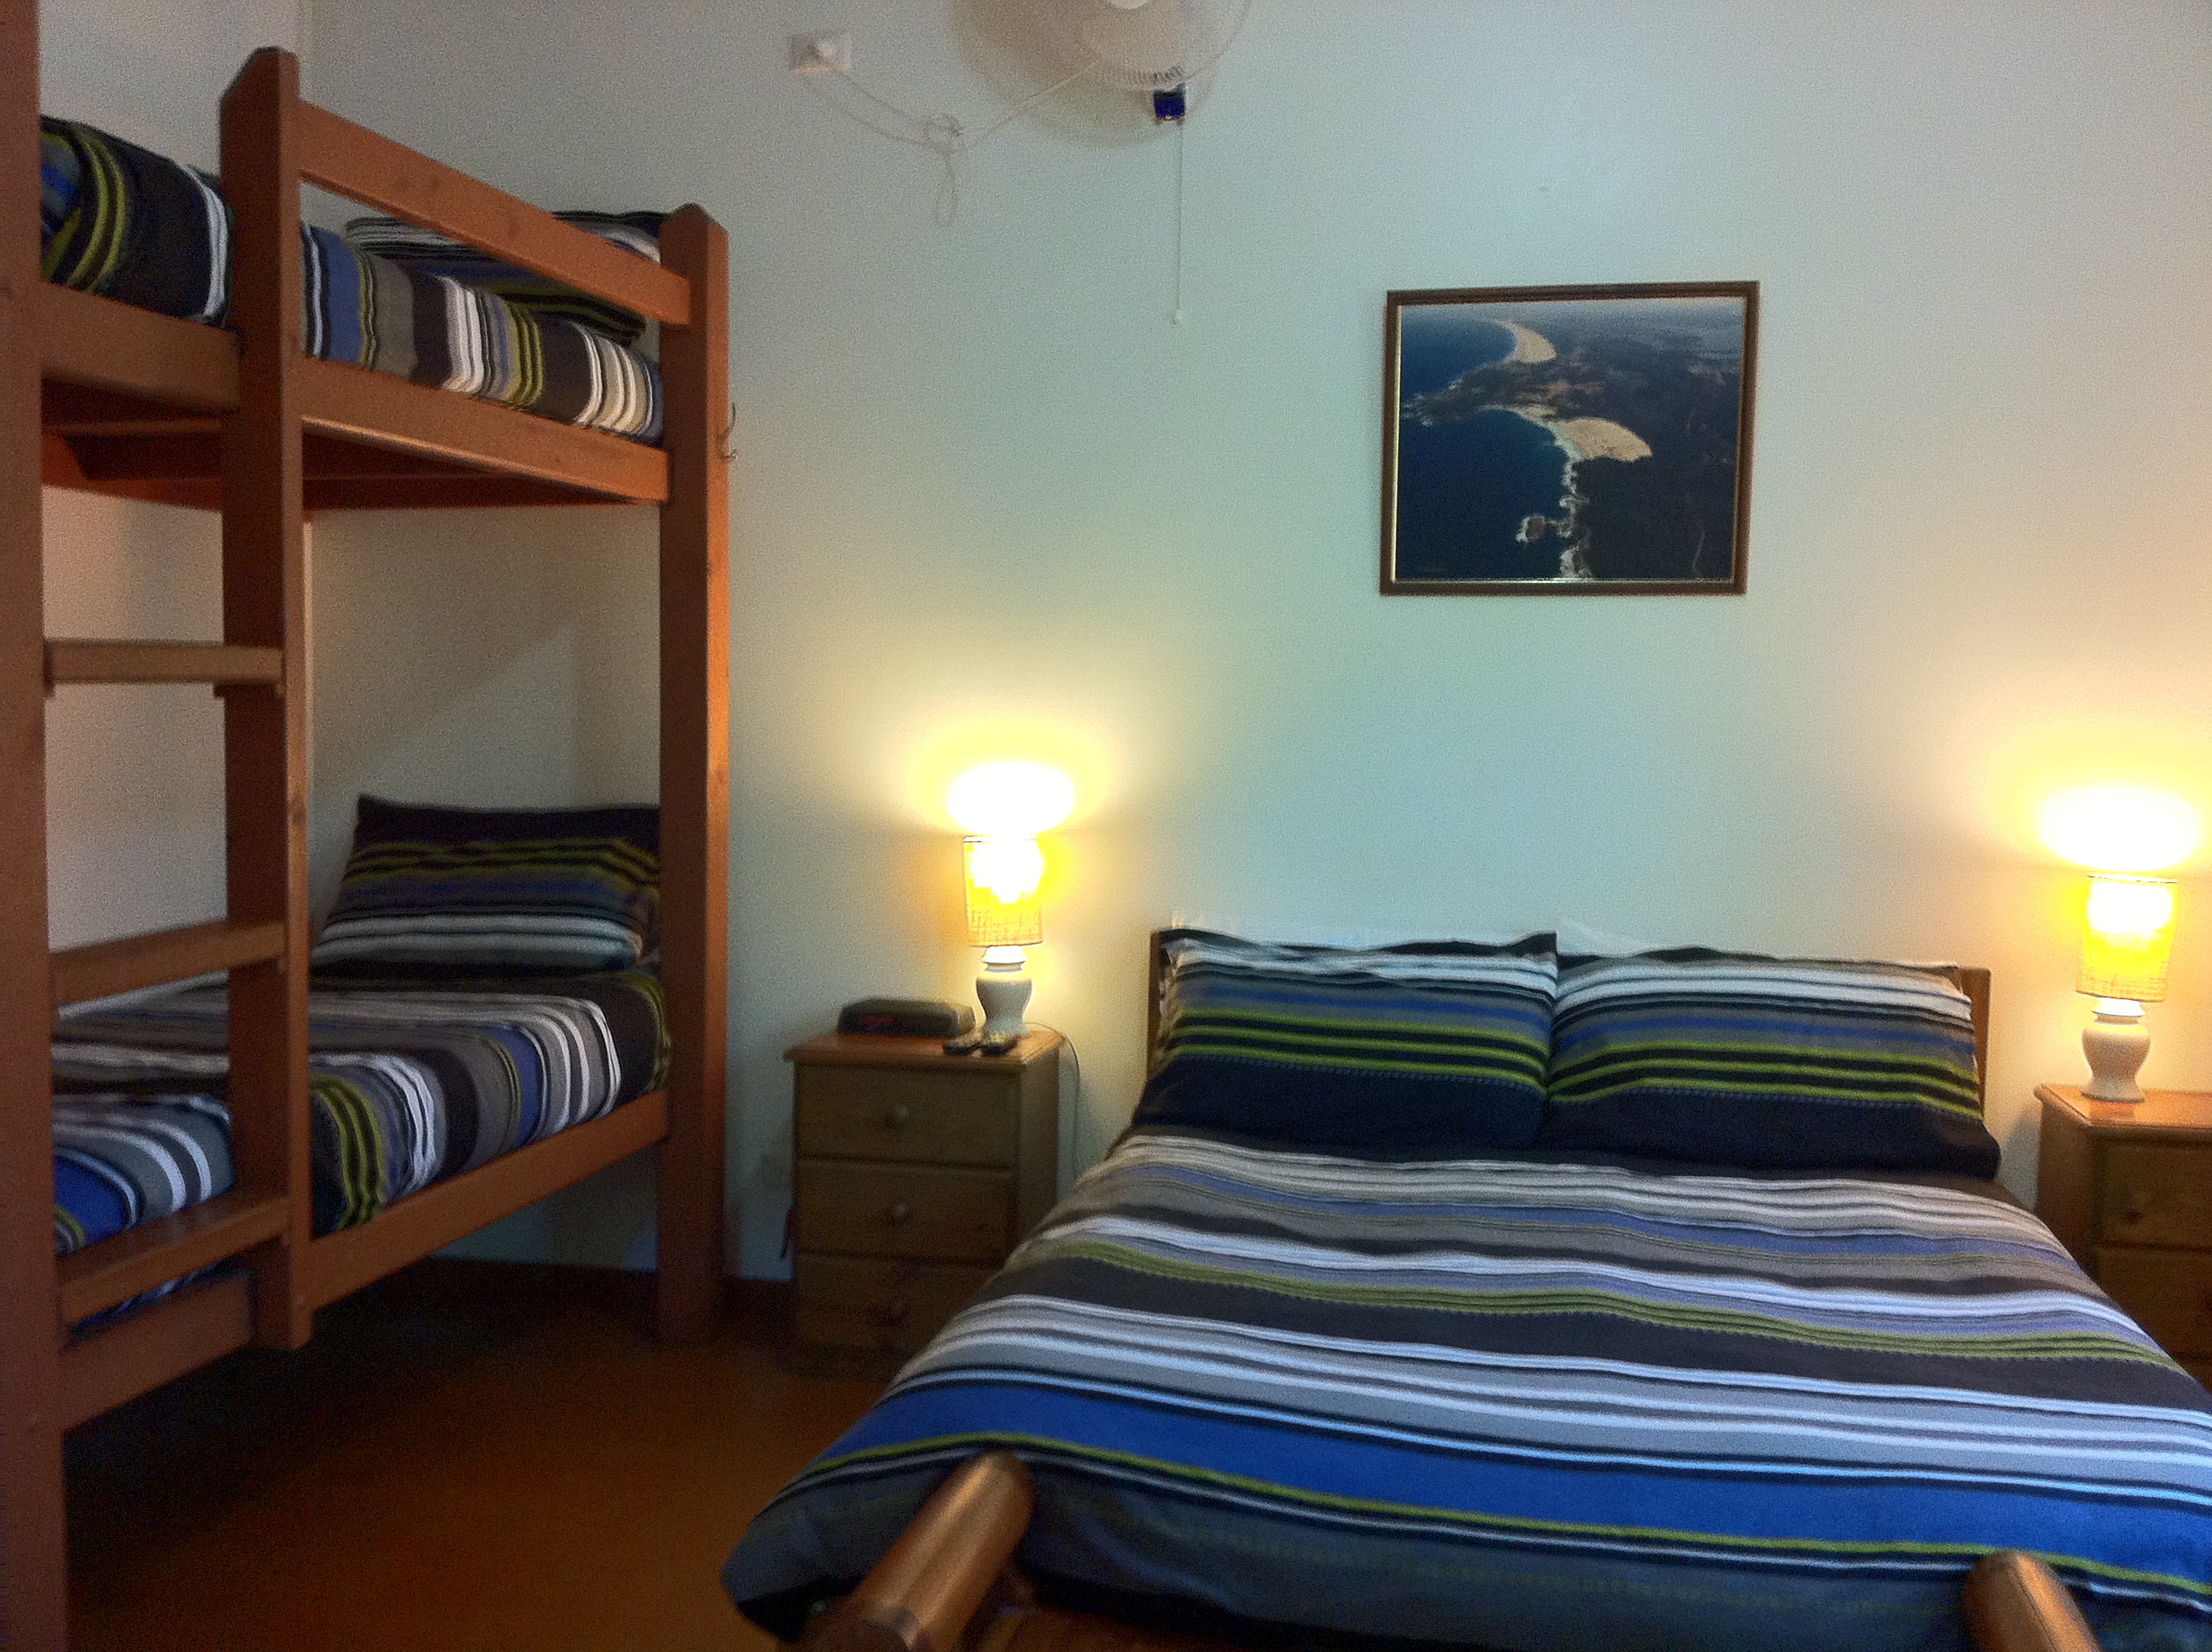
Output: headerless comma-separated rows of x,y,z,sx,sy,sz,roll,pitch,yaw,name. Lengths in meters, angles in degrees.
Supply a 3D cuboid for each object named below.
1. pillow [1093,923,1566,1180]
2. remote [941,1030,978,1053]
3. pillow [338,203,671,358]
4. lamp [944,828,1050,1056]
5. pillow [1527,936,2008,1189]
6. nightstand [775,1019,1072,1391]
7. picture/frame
0.507,0.439,3.578,0.965,0.630,0.319,0,-36,9,pillow
-0.304,0.459,3.861,0.026,0.036,0.086,0,8,16,remote
-1.221,-1.133,3.734,0.408,0.149,0.427,1,6,-6,pillow
-0.226,0.255,4.018,0.195,0.449,0.190,1,1,-36,lamp
1.336,0.403,3.783,1.013,0.275,0.996,4,19,35,pillow
-0.442,0.758,4.054,0.559,0.733,0.572,0,14,-14,nightstand
1.019,-0.855,3.889,0.686,0.605,0.030,0,6,8,picture/frame
